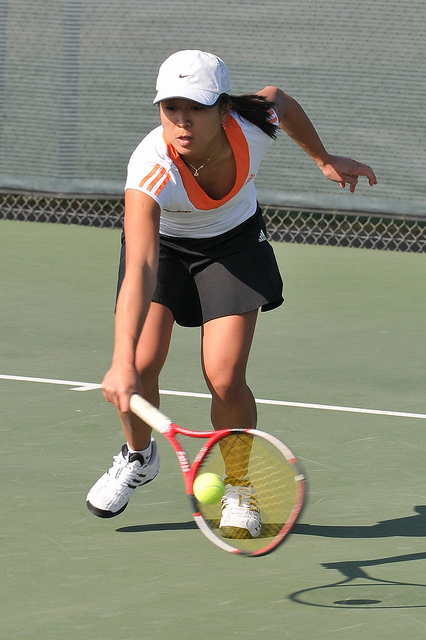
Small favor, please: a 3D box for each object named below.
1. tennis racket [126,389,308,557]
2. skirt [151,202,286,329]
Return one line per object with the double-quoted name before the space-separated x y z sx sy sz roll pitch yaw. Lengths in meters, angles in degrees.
"tennis racket" -0.059 0.334 2.023 0.076 0.262 0.990 27 -5 -27
"skirt" 0.023 -0.126 2.188 0.371 0.292 0.445 5 32 1
